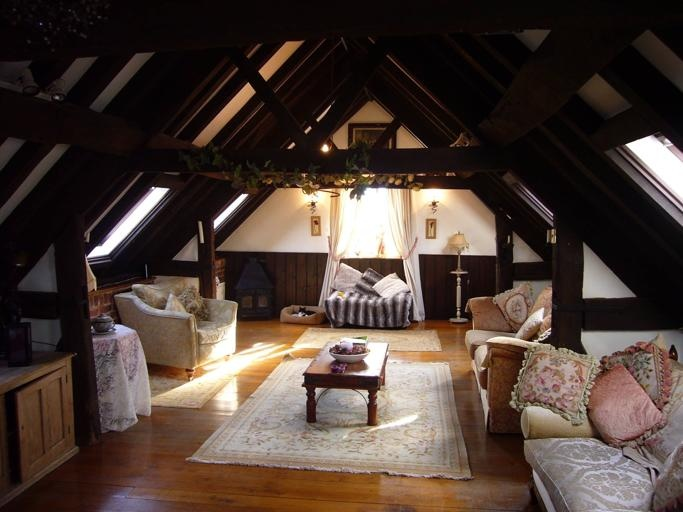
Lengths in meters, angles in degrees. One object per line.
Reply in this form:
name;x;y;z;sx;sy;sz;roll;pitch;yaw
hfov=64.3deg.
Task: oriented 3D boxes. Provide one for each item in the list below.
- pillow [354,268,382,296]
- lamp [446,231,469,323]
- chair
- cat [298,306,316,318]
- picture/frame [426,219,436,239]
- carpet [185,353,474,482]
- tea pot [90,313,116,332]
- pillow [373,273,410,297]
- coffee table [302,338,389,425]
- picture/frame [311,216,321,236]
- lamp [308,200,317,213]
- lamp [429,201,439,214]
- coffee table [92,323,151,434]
pillow;0.449;0.444;9.178;0.408;0.423;0.111;31;-28;-4
lamp;1.967;0.357;9.245;0.349;1.467;0.593;1;10;12
chair;-2.034;0.872;6.746;1.076;1.007;1.086;0;-1;19
cat;-0.626;0.959;9.346;0.240;0.130;0.136;3;-3;43
picture/frame;1.551;-0.472;9.473;0.195;0.369;0.050;0;9;2
carpet;0.028;1.509;5.626;2.295;0.091;2.573;0;10;7
tea pot;-2.357;0.652;5.355;0.187;0.160;0.149;3;-2;16
pillow;0.794;0.521;9.054;0.378;0.120;0.404;-23;45;-7
coffee table;0.088;1.358;5.597;0.738;0.454;1.224;0;-3;12
picture/frame;-0.470;-0.534;9.764;0.205;0.379;0.073;-1;9;-2
lamp;-0.521;-0.880;9.752;0.128;0.188;0.070;0;5;3
lamp;1.591;-0.855;9.429;0.167;0.180;0.172;-2;2;-7
coffee table;-2.145;1.175;5.209;0.399;0.850;0.617;3;10;22
